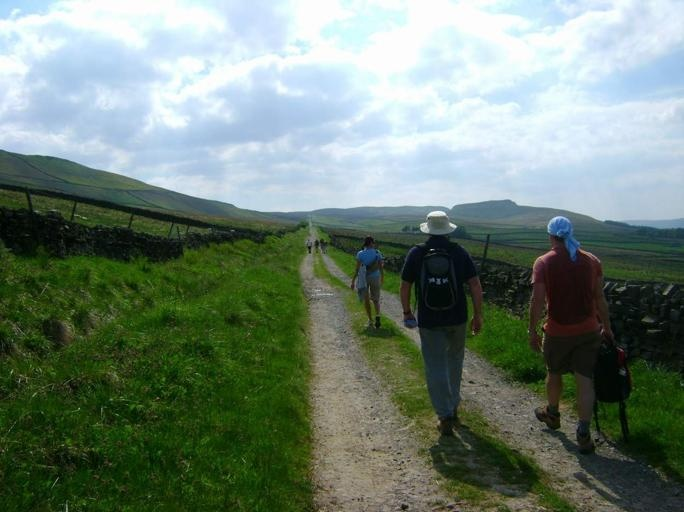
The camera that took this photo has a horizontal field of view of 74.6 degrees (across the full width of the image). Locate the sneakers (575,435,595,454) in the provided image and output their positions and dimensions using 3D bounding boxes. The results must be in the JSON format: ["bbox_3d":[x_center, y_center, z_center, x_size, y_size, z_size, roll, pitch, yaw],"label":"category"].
[{"bbox_3d":[3.679,2.866,6.801,0.286,0.312,0.186,-1,0,9],"label":"sneakers"}]

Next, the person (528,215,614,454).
[{"bbox_3d":[3.543,1.193,7.026,1.093,3.549,0.862,5,11,32],"label":"person"}]

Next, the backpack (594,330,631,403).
[{"bbox_3d":[4.123,1.810,6.850,0.482,0.992,0.333,4,11,30],"label":"backpack"}]

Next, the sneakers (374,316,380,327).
[{"bbox_3d":[1.026,1.903,12.796,0.119,0.301,0.185,-1,2,8],"label":"sneakers"}]

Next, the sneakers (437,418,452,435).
[{"bbox_3d":[1.674,2.775,7.223,0.131,0.301,0.295,0,6,-9],"label":"sneakers"}]

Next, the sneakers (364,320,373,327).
[{"bbox_3d":[0.799,2.014,13.250,0.214,0.349,0.159,-2,2,0],"label":"sneakers"}]
